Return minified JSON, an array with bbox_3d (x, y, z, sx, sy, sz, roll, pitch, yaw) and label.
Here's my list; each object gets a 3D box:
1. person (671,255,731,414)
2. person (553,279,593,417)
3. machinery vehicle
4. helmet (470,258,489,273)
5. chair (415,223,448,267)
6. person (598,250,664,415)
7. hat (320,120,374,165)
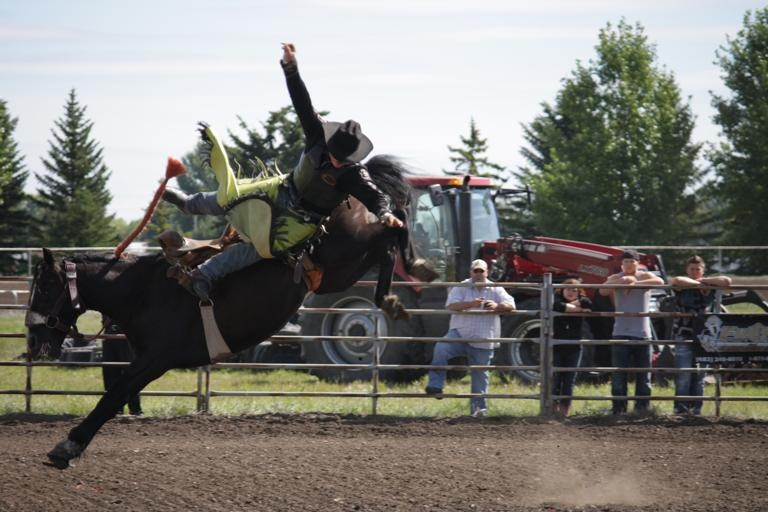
[{"bbox_3d":[6.458,1.614,26.962,1.092,3.263,0.843,1,-2,7],"label":"person"},{"bbox_3d":[3.873,1.862,27.189,0.749,2.821,0.846,1,-2,16],"label":"person"},{"bbox_3d":[0.799,0.526,30.217,10.850,4.235,5.110,-2,0,16],"label":"machinery vehicle"},{"bbox_3d":[2.009,0.169,27.257,0.281,0.174,0.369,5,-17,6],"label":"helmet"},{"bbox_3d":[0.989,-0.214,29.067,0.810,0.926,0.408,-8,13,34],"label":"chair"},{"bbox_3d":[5.157,1.551,27.091,1.140,3.368,1.253,2,-2,-2],"label":"person"},{"bbox_3d":[-0.655,-2.071,23.565,0.893,0.757,0.314,1,-2,-4],"label":"hat"}]
